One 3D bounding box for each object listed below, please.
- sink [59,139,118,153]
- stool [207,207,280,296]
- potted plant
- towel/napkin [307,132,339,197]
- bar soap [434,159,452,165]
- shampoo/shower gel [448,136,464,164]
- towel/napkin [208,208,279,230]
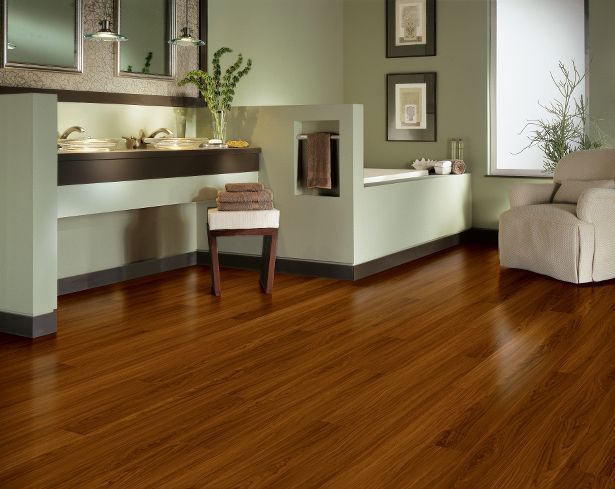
[{"bbox_3d":[-1.485,-0.674,3.128,0.339,0.096,0.576,-4,11,-19],"label":"sink"},{"bbox_3d":[-0.358,0.038,3.492,0.562,0.788,0.600,0,2,-5],"label":"stool"},{"bbox_3d":[-0.760,-1.374,4.159,0.574,0.896,0.781,3,11,18],"label":"potted plant"},{"bbox_3d":[0.121,-0.660,3.727,0.392,0.443,0.103,4,8,34],"label":"towel/napkin"},{"bbox_3d":[1.497,-0.892,5.023,0.116,0.039,0.122,-5,7,-41],"label":"bar soap"},{"bbox_3d":[1.702,-1.087,5.277,0.184,0.266,0.255,3,11,17],"label":"shampoo/shower gel"},{"bbox_3d":[-0.459,-0.180,3.273,0.493,0.142,0.103,-1,10,-5],"label":"towel/napkin"}]
